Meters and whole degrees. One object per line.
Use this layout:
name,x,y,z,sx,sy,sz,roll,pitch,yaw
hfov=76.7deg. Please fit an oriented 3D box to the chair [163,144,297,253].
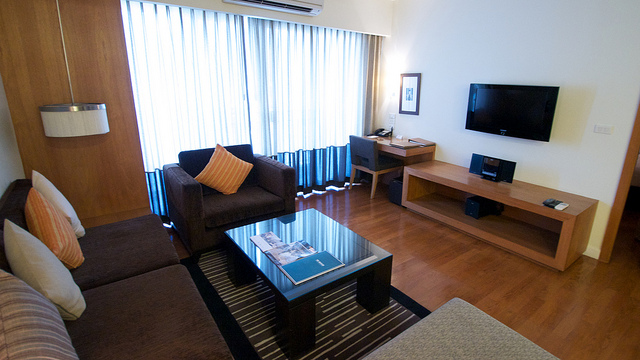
chair,-1.303,0.192,5.789,1.657,1.165,1.149,-10,23,-30

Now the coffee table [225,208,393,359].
coffee table,-0.135,1.152,4.918,1.400,1.019,1.465,-14,25,-31

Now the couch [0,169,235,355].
couch,-2.213,0.915,4.400,1.073,0.847,1.791,-12,29,-29

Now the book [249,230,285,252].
book,-0.633,0.723,4.832,0.209,0.012,0.282,-14,29,-32

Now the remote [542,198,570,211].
remote,3.047,0.309,5.253,0.285,0.052,0.261,18,27,40

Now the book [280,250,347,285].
book,-0.073,0.976,4.503,0.633,0.140,0.281,-11,23,-25

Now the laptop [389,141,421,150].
laptop,1.385,-0.575,6.626,0.390,0.042,0.418,-17,26,-37

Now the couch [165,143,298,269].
couch,-1.279,0.191,5.819,1.637,1.155,1.143,-13,24,-34

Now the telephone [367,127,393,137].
telephone,1.107,-0.849,7.243,0.295,0.097,0.195,-3,17,-10
